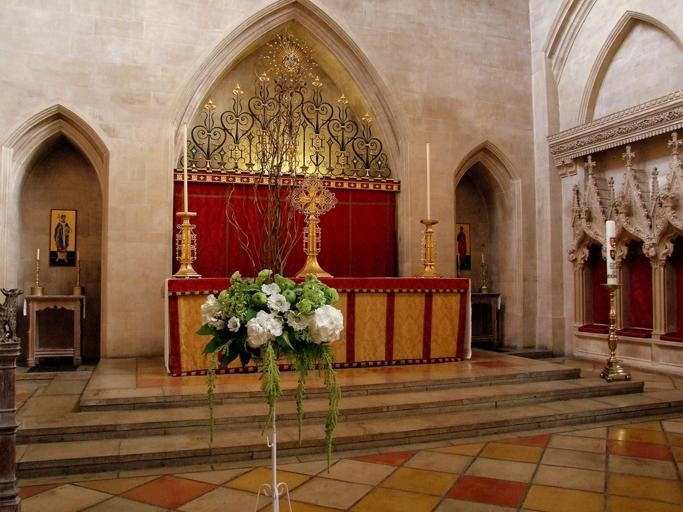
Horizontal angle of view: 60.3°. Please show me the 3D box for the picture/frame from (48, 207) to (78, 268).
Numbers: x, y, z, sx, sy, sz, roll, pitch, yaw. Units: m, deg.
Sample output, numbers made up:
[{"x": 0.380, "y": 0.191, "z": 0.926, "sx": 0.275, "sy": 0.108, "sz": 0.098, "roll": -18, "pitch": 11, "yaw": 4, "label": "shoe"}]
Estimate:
[{"x": -4.434, "y": -0.306, "z": 9.362, "sx": 0.410, "sy": 0.894, "sz": 0.016, "roll": 1, "pitch": -1, "yaw": -1, "label": "picture/frame"}]

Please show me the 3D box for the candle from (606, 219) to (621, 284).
[{"x": 3.554, "y": -0.042, "z": 7.770, "sx": 0.126, "sy": 0.850, "sz": 0.282, "roll": -4, "pitch": -3, "yaw": 24, "label": "candle"}]

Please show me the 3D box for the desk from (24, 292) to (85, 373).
[{"x": -4.381, "y": 1.139, "z": 9.048, "sx": 0.881, "sy": 1.053, "sz": 0.766, "roll": 1, "pitch": -6, "yaw": -22, "label": "desk"}]

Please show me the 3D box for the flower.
[{"x": -0.566, "y": 0.710, "z": 4.446, "sx": 0.976, "sy": 1.075, "sz": 0.872, "roll": 1, "pitch": 5, "yaw": -43, "label": "flower"}]

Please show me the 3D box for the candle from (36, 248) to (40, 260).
[{"x": -4.726, "y": -0.035, "z": 9.166, "sx": 0.048, "sy": 0.195, "sz": 0.185, "roll": -1, "pitch": -3, "yaw": -29, "label": "candle"}]

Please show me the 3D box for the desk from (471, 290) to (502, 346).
[{"x": 2.702, "y": 1.170, "z": 10.976, "sx": 0.597, "sy": 0.985, "sz": 0.558, "roll": -3, "pitch": -3, "yaw": 6, "label": "desk"}]
